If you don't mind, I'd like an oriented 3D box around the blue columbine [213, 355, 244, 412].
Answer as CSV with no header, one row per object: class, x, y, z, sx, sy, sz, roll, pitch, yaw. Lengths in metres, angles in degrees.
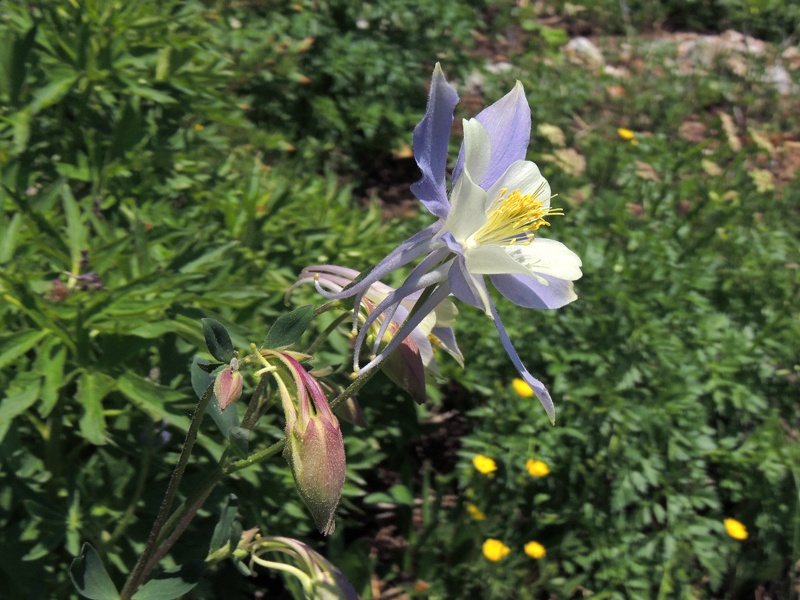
blue columbine,-0.485,0.229,2.572,0.094,0.063,0.171,13,41,-16
